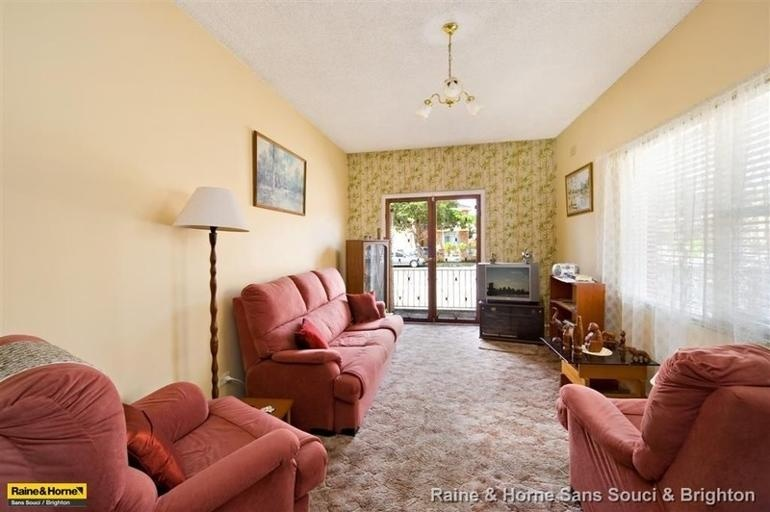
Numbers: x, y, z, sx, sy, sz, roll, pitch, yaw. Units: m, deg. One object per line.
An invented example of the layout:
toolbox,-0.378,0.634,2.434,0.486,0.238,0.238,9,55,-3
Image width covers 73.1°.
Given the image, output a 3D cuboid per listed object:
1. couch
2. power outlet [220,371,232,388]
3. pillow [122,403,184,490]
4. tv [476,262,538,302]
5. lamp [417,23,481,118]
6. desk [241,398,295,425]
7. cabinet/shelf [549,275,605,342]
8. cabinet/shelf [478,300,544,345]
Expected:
couch,-0.448,0.747,5.336,1.111,1.142,2.258,2,6,12
power outlet,-1.412,1.098,4.578,0.099,0.101,0.101,12,1,30
pillow,-1.380,1.156,3.079,0.132,0.436,0.439,-33,36,0
tv,1.647,0.336,6.779,0.788,0.535,0.423,1,6,23
lamp,0.610,-1.712,4.737,0.603,0.748,0.625,-8,11,-21
desk,-0.896,1.183,4.109,0.259,0.246,0.254,7,-5,-35
cabinet/shelf,2.150,0.616,5.844,0.267,0.734,0.829,0,4,-1
cabinet/shelf,1.679,0.788,6.726,0.829,0.539,0.494,2,20,24
